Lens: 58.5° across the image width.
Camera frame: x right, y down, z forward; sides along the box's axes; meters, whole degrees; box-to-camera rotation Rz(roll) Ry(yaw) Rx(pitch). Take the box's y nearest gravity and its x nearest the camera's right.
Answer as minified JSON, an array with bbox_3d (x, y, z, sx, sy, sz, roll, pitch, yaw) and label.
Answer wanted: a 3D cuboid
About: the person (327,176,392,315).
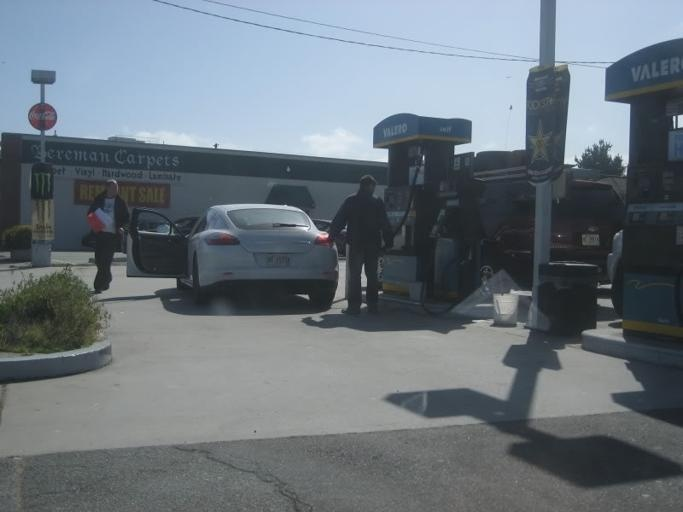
[{"bbox_3d":[0.364,-0.198,9.921,1.011,2.176,0.861,-1,5,-26],"label":"person"}]

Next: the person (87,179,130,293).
[{"bbox_3d":[-4.583,-0.382,11.865,0.763,2.129,0.719,4,5,38],"label":"person"}]

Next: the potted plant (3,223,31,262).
[{"bbox_3d":[-11.259,-0.463,21.452,1.123,1.352,1.218,1,0,8],"label":"potted plant"}]

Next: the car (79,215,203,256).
[{"bbox_3d":[-4.488,-0.482,13.838,1.497,0.813,2.640,-1,-2,20],"label":"car"}]

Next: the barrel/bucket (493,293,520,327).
[{"bbox_3d":[2.451,0.797,9.099,0.372,0.498,0.403,-1,-1,0],"label":"barrel/bucket"}]

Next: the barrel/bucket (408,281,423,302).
[{"bbox_3d":[1.303,0.615,10.582,0.097,0.314,0.282,-2,7,-25],"label":"barrel/bucket"}]

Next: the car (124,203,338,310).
[{"bbox_3d":[-2.084,-0.054,11.005,4.321,1.732,2.163,6,6,43],"label":"car"}]

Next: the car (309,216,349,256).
[{"bbox_3d":[-0.324,-0.792,23.829,1.918,0.986,1.004,3,-2,-9],"label":"car"}]
